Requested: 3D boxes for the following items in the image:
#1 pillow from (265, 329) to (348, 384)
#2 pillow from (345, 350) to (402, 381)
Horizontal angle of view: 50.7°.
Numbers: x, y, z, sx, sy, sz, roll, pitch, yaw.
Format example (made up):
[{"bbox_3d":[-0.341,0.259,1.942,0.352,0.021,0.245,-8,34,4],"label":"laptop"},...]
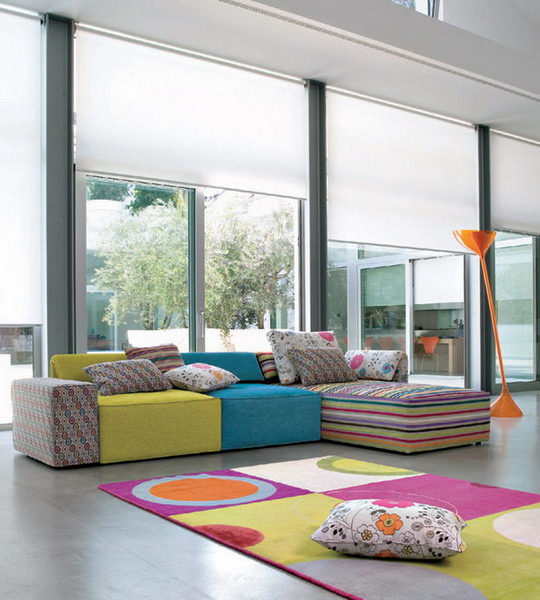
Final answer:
[{"bbox_3d":[0.299,0.434,4.994,0.654,0.463,0.179,-6,-20,-39],"label":"pillow"},{"bbox_3d":[0.952,0.566,5.116,0.373,0.124,0.337,-3,11,-1],"label":"pillow"}]
